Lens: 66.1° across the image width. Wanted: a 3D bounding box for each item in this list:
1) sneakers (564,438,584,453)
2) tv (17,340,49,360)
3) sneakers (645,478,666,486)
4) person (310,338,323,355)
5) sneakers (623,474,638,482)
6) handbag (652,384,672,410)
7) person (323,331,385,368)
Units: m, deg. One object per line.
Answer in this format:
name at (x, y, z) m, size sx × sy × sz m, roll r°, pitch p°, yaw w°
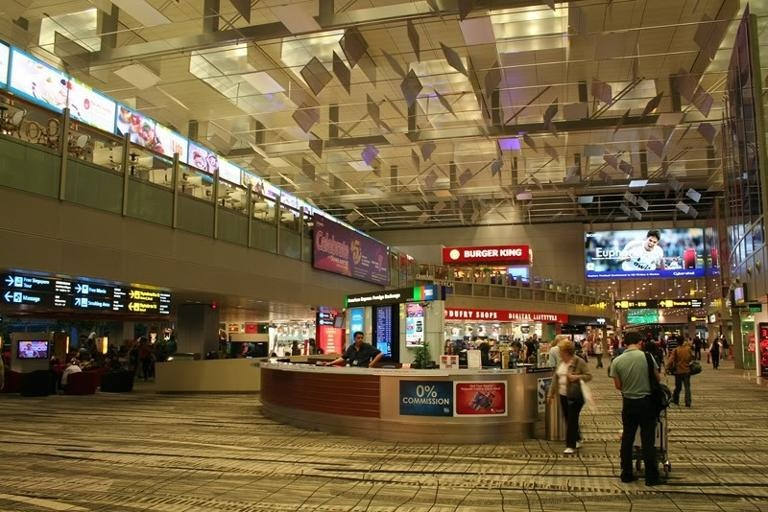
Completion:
sneakers at (3.203, 3.237, 10.058) m, size 0.177 × 0.232 × 0.581 m, roll -19°, pitch -24°, yaw 41°
tv at (-12.755, 3.397, 21.371) m, size 0.774 × 0.507 × 0.099 m, roll 2°, pitch -12°, yaw -17°
sneakers at (3.871, 3.196, 8.390) m, size 0.360 × 0.077 × 0.100 m, roll 3°, pitch -12°, yaw -16°
person at (-2.472, 3.259, 22.113) m, size 0.484 × 0.457 × 0.855 m, roll 21°, pitch -12°, yaw -5°
sneakers at (3.550, 3.190, 8.522) m, size 0.253 × 0.101 × 0.110 m, roll 5°, pitch -12°, yaw -23°
handbag at (4.031, 2.039, 8.681) m, size 0.326 × 0.428 × 0.160 m, roll 6°, pitch -4°, yaw -22°
person at (-0.535, 1.957, 12.463) m, size 0.732 × 0.744 × 1.137 m, roll 10°, pitch -15°, yaw -41°
